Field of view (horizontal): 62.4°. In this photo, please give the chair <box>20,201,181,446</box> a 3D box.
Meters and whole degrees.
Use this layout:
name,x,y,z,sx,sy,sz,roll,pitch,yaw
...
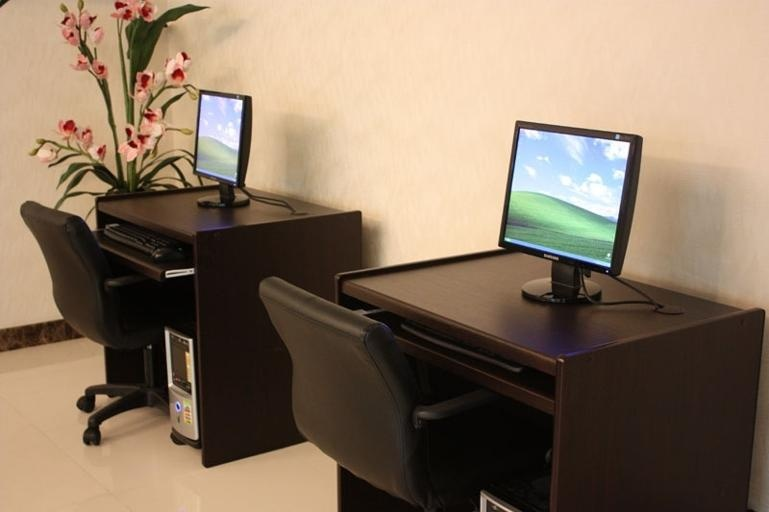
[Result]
name,x,y,z,sx,sy,sz,roll,pitch,yaw
chair,-1.424,0.321,3.284,0.580,1.244,0.510,-11,19,-27

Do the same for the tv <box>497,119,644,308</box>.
name,x,y,z,sx,sy,sz,roll,pitch,yaw
tv,0.669,-0.140,2.232,0.338,0.607,0.531,-14,21,-33

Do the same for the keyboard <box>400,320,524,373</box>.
name,x,y,z,sx,sy,sz,roll,pitch,yaw
keyboard,0.305,0.308,2.222,0.419,0.049,0.307,16,6,20

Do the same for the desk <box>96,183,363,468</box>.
name,x,y,z,sx,sy,sz,roll,pitch,yaw
desk,-0.791,0.263,3.830,1.198,1.424,1.560,-4,9,-37
